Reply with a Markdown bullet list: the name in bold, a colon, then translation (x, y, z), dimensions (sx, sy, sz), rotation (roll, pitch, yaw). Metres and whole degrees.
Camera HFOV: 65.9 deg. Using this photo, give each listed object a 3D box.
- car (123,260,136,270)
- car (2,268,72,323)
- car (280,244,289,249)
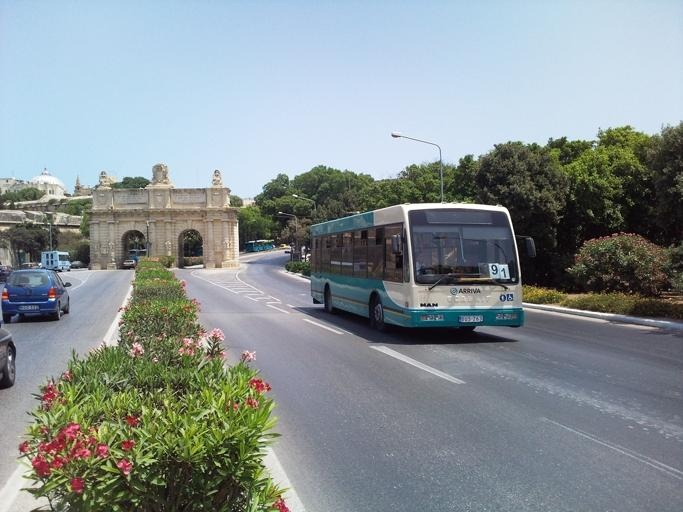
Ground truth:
- **car**: translation (-33.922, 1.069, 85.013), dimensions (1.247, 1.103, 2.959), rotation (0, 5, -8)
- **car**: translation (-11.410, 1.400, 19.886), dimensions (1.791, 1.938, 1.976), rotation (-1, 1, -13)
- **car**: translation (-15.388, -3.040, 141.845), dimensions (1.755, 1.665, 3.180), rotation (1, 6, 3)
